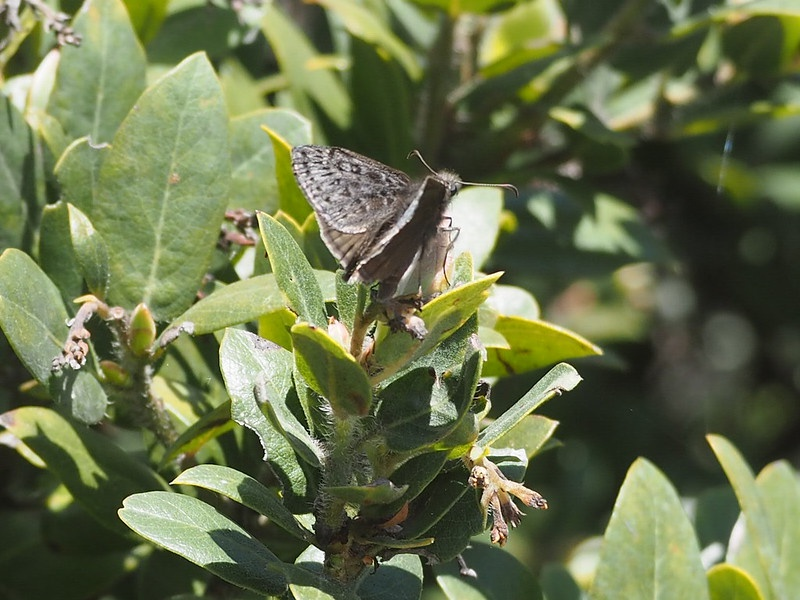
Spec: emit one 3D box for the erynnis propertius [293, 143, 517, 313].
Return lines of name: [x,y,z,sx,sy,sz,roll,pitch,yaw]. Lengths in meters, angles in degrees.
erynnis propertius: [0.011,-0.184,1.917,0.337,0.231,0.386,-35,20,-13]
